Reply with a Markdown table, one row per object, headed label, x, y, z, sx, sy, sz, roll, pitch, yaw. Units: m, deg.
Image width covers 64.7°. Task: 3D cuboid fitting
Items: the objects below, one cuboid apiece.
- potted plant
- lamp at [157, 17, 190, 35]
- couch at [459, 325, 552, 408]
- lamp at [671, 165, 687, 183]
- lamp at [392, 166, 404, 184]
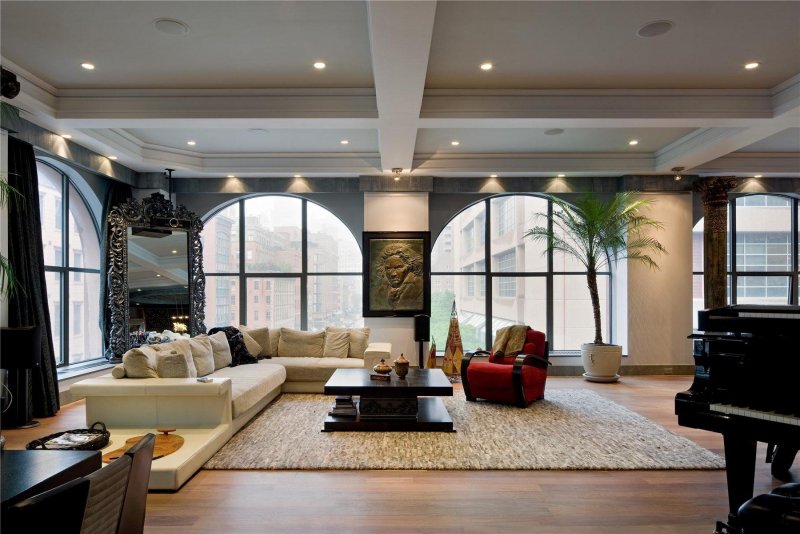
| label | x | y | z | sx | sy | sz | roll | pitch | yaw |
| --- | --- | --- | --- | --- | --- | --- | --- | --- | --- |
| potted plant | 3.558 | 0.288 | 11.996 | 2.955 | 3.295 | 3.008 | 0 | -4 | -13 |
| lamp | -2.136 | -2.242 | 5.885 | 0.191 | 0.082 | 0.340 | -2 | -3 | 16 |
| couch | 1.594 | 1.469 | 9.446 | 1.017 | 1.099 | 1.277 | -8 | -13 | 38 |
| lamp | 4.725 | -1.574 | 10.712 | 0.242 | 0.238 | 0.231 | 2 | -3 | -15 |
| lamp | -0.048 | -1.577 | 10.735 | 0.176 | 0.164 | 0.142 | -1 | 0 | -2 |
